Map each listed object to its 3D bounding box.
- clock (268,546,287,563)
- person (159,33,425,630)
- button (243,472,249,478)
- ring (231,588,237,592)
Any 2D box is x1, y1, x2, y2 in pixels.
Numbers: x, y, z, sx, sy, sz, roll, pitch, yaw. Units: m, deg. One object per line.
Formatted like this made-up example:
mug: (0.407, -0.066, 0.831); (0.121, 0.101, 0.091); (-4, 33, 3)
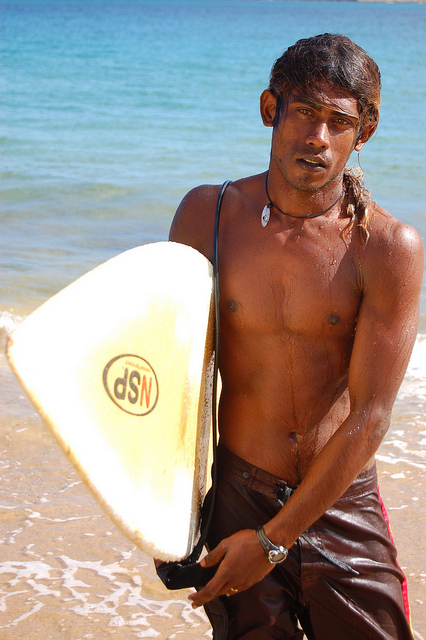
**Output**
clock: (0.154, 0.562, 1.884); (0.042, 0.041, 0.017); (2, 34, 2)
person: (0.181, 0.321, 2.192); (0.675, 2.027, 0.874); (-2, 34, -4)
button: (0.090, 0.414, 2.102); (0.014, 0.012, 0.003); (2, 2, 36)
ring: (0.053, 0.662, 1.933); (0.013, 0.009, 0.003); (10, 24, 18)
